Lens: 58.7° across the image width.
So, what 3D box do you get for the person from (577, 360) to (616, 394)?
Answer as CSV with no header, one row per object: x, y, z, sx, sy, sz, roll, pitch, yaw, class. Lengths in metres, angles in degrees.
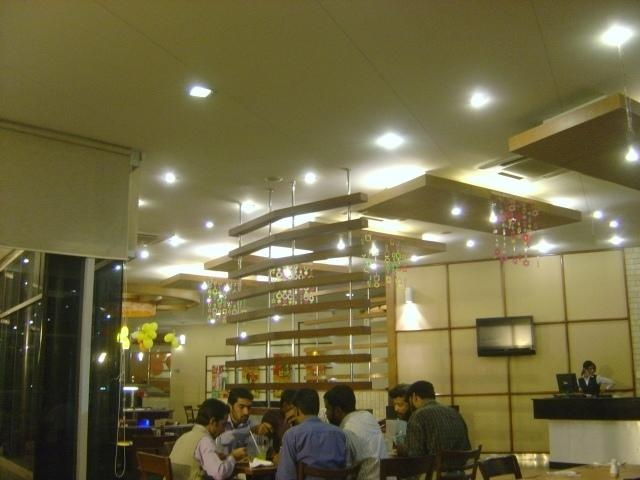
4.820,2.404,10.031,0.561,0.682,2.135,-8,-18,25,person

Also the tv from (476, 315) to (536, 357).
3.622,1.903,11.229,1.071,0.747,0.195,-4,-15,11,tv

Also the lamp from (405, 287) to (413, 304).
1.864,1.164,12.005,0.182,0.299,0.129,-3,-15,9,lamp

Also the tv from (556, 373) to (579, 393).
4.050,2.347,9.374,0.350,0.360,0.291,-2,-6,21,tv

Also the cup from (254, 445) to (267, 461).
-0.581,2.082,5.569,0.098,0.173,0.107,1,-12,0,cup
